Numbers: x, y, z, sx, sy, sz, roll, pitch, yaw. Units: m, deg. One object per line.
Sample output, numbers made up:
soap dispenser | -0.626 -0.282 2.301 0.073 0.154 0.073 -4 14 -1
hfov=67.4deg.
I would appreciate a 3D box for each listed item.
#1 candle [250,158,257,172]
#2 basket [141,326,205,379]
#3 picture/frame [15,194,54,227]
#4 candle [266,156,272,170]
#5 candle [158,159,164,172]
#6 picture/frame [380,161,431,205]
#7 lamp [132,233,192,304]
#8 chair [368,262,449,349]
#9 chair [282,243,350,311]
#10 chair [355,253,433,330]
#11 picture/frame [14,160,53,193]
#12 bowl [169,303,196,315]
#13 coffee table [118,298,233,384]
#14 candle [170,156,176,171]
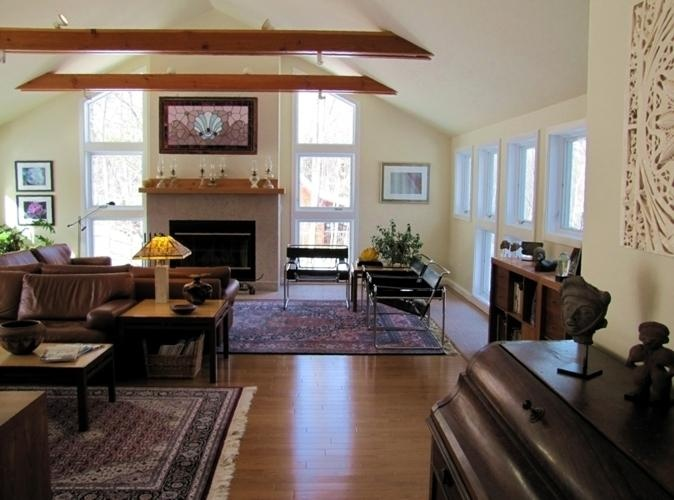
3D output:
candle | -1.462 -1.486 8.841 0.121 0.217 0.082 1 11 0
basket | -1.667 1.035 5.188 0.472 0.295 0.475 0 11 -5
picture/frame | -5.505 -0.740 9.244 0.592 0.497 0.040 0 1 -2
candle | -1.169 -1.480 8.758 0.094 0.267 0.246 1 10 -3
candle | -3.060 -1.447 8.764 0.091 0.265 0.219 -3 11 -22
picture/frame | 1.243 -1.264 9.297 0.745 0.625 0.061 0 2 -2
lamp | -1.860 0.202 5.347 0.642 0.656 0.684 0 0 30
chair | 0.818 0.586 6.591 0.887 0.957 1.200 -1 11 -8
chair | -0.299 0.394 7.871 1.015 0.902 0.749 1 8 -4
chair | 0.841 0.522 6.750 0.932 0.719 1.604 0 6 -1
picture/frame | -5.508 -1.356 9.214 0.587 0.490 0.041 1 1 -2
bowl | -1.511 0.578 5.077 0.223 0.071 0.261 7 11 27
coffee table | -1.674 0.871 5.296 0.988 0.732 0.864 1 10 -2
candle | -2.859 -1.467 8.780 0.117 0.257 0.189 -1 11 -14
